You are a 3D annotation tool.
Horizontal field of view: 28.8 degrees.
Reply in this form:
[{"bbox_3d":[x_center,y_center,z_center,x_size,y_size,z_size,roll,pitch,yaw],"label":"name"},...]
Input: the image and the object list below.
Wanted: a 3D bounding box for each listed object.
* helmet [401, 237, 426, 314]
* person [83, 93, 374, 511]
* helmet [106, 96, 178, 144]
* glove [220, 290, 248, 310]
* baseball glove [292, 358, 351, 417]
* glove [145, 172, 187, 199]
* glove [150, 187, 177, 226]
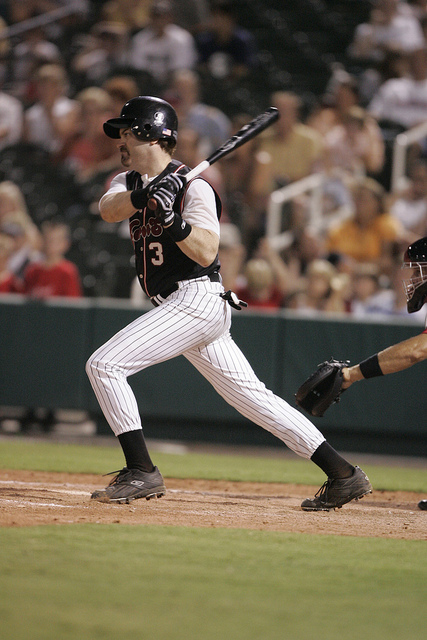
[{"bbox_3d":[0.872,-0.197,3.566,0.108,0.317,0.219,4,-2,12],"label":"helmet"},{"bbox_3d":[-0.019,-0.074,3.423,0.966,1.136,0.605,5,-3,-31],"label":"person"},{"bbox_3d":[-0.299,-0.839,3.414,0.342,0.157,0.200,2,19,-16],"label":"helmet"},{"bbox_3d":[0.091,-0.080,3.363,0.102,0.027,0.074,22,13,-46],"label":"glove"},{"bbox_3d":[0.469,0.297,3.679,0.282,0.135,0.373,-39,-2,-6],"label":"baseball glove"},{"bbox_3d":[-0.165,-0.522,3.156,0.160,0.052,0.120,-17,-7,36],"label":"glove"},{"bbox_3d":[-0.168,-0.419,3.021,0.053,0.124,0.125,-18,4,41],"label":"glove"}]
